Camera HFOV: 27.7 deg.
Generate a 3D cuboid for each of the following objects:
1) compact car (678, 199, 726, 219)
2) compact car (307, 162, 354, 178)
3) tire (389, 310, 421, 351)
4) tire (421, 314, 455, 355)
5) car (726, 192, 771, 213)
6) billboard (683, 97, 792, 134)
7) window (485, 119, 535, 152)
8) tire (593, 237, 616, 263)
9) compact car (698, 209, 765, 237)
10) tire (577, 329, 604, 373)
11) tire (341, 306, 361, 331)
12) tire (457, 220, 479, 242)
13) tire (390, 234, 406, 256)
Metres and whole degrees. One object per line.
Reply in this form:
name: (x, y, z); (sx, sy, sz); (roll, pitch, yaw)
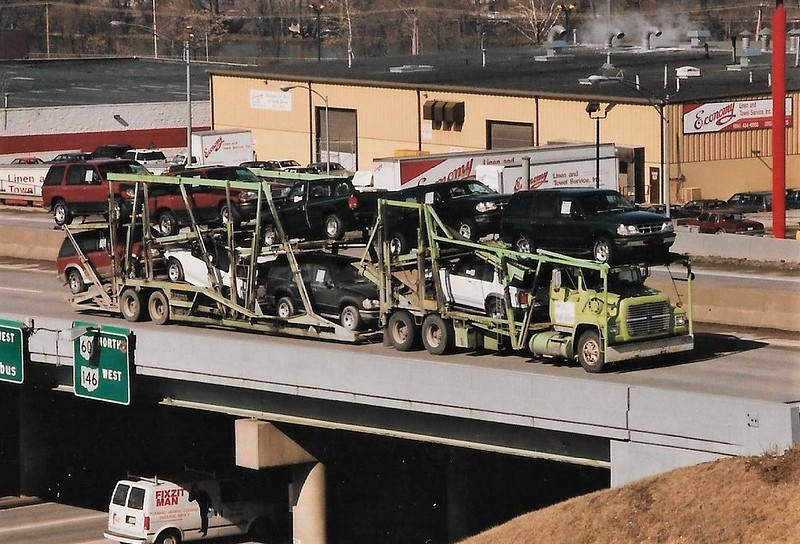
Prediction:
compact car: (19.489, -3.853, 105.039); (1.433, 1.161, 2.574); (-6, 12, -29)
compact car: (-4.916, -7.250, 115.875); (2.900, 1.203, 1.446); (-1, 12, 4)
tire: (0.228, 2.483, 71.153); (1.446, 1.736, 0.542); (-7, -1, 42)
tire: (1.626, 2.699, 70.560); (1.390, 1.812, 0.371); (1, 9, 31)
car: (23.651, -4.729, 110.646); (2.679, 1.470, 1.524); (11, 15, 35)
billboard: (22.594, -10.964, 112.420); (7.380, 2.336, 1.256); (-10, 10, -30)
window: (7.911, -9.965, 115.325); (0.225, 1.995, 3.117); (-11, 19, -38)
tire: (8.841, -1.021, 70.159); (0.356, 1.125, 1.013); (3, -3, -37)
compact car: (19.960, -3.090, 98.894); (3.755, 1.367, 2.536); (-2, 9, 11)
tire: (7.986, 3.226, 68.001); (0.524, 1.930, 1.518); (-11, 11, -40)
tire: (-2.142, 2.006, 72.220); (0.735, 0.777, 0.258); (-37, -17, 27)
tire: (3.086, -1.939, 73.105); (0.799, 0.898, 0.293); (9, 14, 37)
tire: (-0.085, -1.290, 72.682); (0.756, 0.844, 0.273); (-12, -3, 44)
